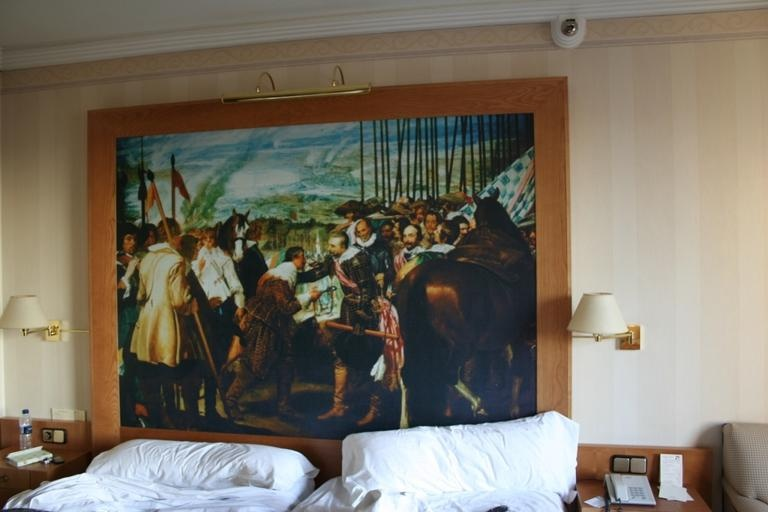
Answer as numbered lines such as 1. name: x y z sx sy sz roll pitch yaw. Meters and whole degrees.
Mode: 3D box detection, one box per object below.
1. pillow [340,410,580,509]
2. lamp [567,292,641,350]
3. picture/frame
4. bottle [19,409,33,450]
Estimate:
1. pillow: 0.553 1.430 5.378 1.102 0.352 0.741 -1 31 -2
2. lamp: 1.631 0.496 5.495 0.534 0.447 0.376 2 1 -23
3. picture/frame: -0.249 0.129 5.699 2.790 2.086 0.055 -2 -3 10
4. bottle: -2.834 1.378 6.016 0.093 0.307 0.232 0 -8 -26
